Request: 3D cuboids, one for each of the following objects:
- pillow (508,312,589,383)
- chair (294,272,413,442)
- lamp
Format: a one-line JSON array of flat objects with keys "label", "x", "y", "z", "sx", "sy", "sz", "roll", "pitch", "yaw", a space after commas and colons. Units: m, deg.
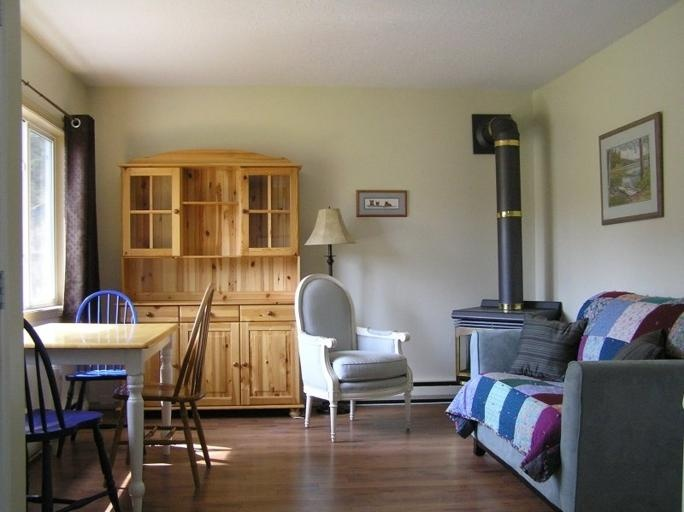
[{"label": "pillow", "x": 1.387, "y": 0.622, "z": 3.897, "sx": 0.125, "sy": 0.419, "sz": 0.410, "roll": 32, "pitch": -21, "yaw": -35}, {"label": "chair", "x": 0.062, "y": 0.768, "z": 4.685, "sx": 0.784, "sy": 1.173, "sz": 0.898, "roll": -3, "pitch": 6, "yaw": -25}, {"label": "lamp", "x": -0.110, "y": -0.116, "z": 5.122, "sx": 0.386, "sy": 0.633, "sz": 0.469, "roll": 0, "pitch": 6, "yaw": 1}]
